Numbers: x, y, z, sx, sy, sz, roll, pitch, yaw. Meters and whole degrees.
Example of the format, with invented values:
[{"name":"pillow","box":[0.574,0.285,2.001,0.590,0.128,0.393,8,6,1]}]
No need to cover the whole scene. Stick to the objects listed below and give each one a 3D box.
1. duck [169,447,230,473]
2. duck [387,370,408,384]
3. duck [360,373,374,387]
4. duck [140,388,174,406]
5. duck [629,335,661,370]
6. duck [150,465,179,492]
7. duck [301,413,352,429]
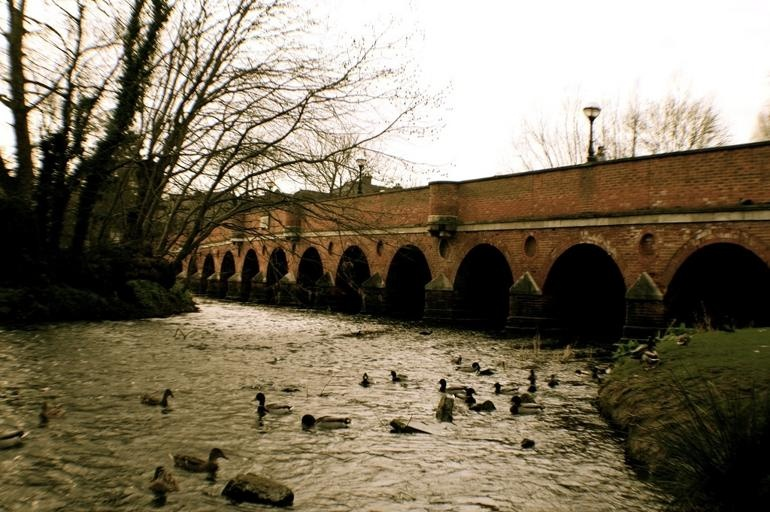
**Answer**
[{"name":"duck","box":[-2.592,2.892,8.864,0.777,0.199,0.517,2,8,-22]},{"name":"duck","box":[0.325,2.654,13.780,0.389,0.189,0.548,5,7,-2]},{"name":"duck","box":[-0.400,2.640,13.241,0.302,0.139,0.260,-1,-6,-3]},{"name":"duck","box":[-4.007,2.429,10.986,0.552,0.276,0.634,3,8,-16]},{"name":"duck","box":[5.043,1.888,12.008,0.372,0.407,0.990,14,-3,32]},{"name":"duck","box":[-2.964,2.982,8.335,0.298,0.107,0.357,19,-3,-29]},{"name":"duck","box":[-0.975,2.792,10.538,0.974,0.233,0.334,0,18,-3]}]
